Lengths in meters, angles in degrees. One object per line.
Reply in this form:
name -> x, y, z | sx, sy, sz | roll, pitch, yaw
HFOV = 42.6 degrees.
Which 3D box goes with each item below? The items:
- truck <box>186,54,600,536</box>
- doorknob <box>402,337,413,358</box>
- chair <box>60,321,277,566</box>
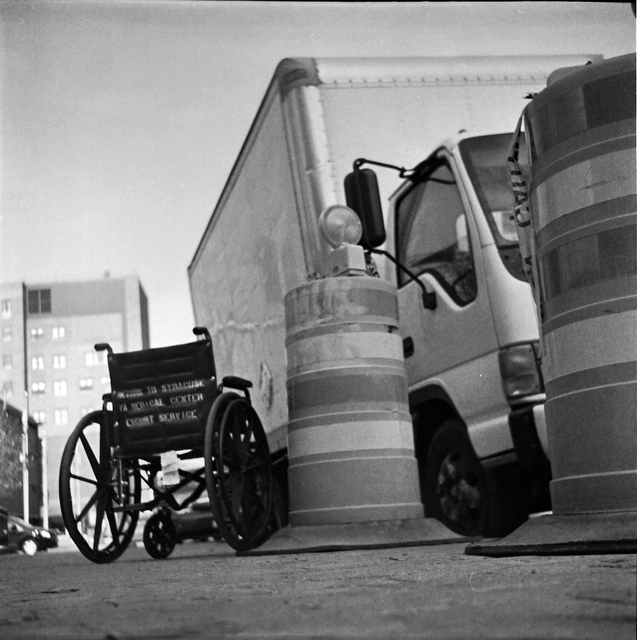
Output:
truck -> 0.638, -0.148, 5.597 | 1.507, 2.256, 3.666 | 4, -26, -23
doorknob -> 0.606, 0.192, 5.545 | 0.076, 0.152, 0.075 | -5, -24, 13
chair -> -0.964, 0.827, 5.403 | 0.960, 1.613, 1.357 | -6, -3, -2
